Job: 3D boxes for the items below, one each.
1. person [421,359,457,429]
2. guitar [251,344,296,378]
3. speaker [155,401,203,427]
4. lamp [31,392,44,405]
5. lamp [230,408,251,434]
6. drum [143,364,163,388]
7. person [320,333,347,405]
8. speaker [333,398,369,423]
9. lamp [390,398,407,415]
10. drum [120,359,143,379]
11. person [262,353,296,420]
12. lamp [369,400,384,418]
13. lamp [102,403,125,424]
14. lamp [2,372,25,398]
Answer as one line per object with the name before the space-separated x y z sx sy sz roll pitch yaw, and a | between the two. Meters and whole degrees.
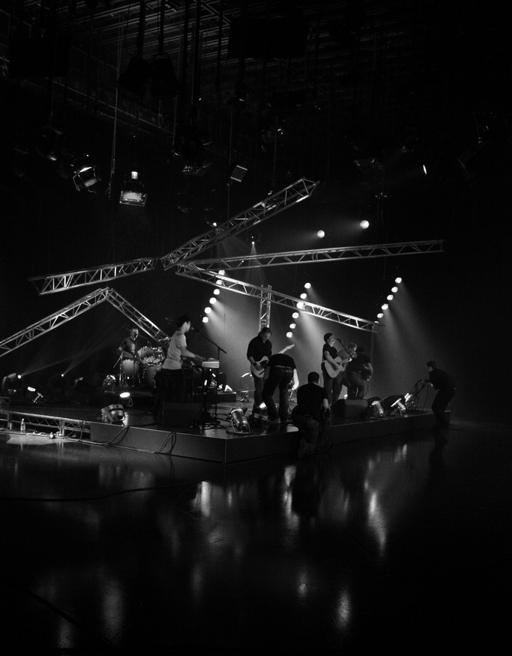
person | 3.509 1.281 12.363 0.501 1.092 0.680 2 -1 16
guitar | 0.206 0.441 9.206 0.385 0.261 0.601 19 -5 -36
speaker | -0.921 1.067 7.931 0.594 0.326 0.124 3 -1 -36
lamp | -3.634 1.183 10.779 0.107 0.069 0.193 37 -33 -12
lamp | -0.221 1.125 7.767 0.182 0.303 0.097 3 -8 -33
drum | -1.658 0.786 10.406 0.356 0.377 0.371 -2 -19 17
person | 1.294 0.704 11.045 0.497 1.436 0.181 7 -15 -36
speaker | 1.492 1.321 10.261 0.470 0.339 0.330 5 0 -39
lamp | 2.557 1.403 11.634 0.253 0.268 0.711 2 -2 16
drum | -2.364 0.785 12.162 0.293 0.274 0.333 7 -9 -40
person | 0.317 0.847 9.102 0.420 0.908 0.663 2 -1 2
lamp | 1.952 1.343 10.654 0.278 0.314 0.175 3 -3 -28
lamp | -1.814 1.119 8.358 0.237 0.256 0.485 3 -1 -44
lamp | -4.100 0.984 11.025 0.428 0.456 0.582 3 -1 -37
